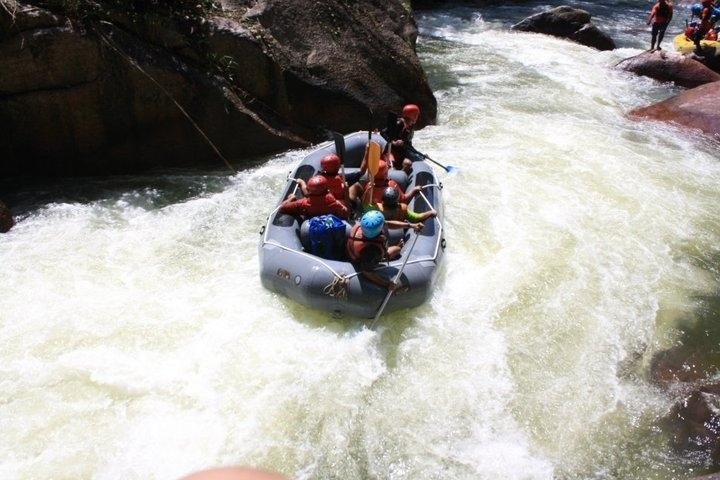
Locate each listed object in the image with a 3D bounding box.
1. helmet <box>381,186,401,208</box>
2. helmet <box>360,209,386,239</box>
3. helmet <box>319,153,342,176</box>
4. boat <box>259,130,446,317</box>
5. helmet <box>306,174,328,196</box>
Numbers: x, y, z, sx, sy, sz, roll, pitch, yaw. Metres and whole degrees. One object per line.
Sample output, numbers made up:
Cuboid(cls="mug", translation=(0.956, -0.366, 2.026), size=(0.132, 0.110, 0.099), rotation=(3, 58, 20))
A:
Cuboid(cls="helmet", translation=(0.435, -0.598, 7.644), size=(0.234, 0.293, 0.297), rotation=(0, 50, 0))
Cuboid(cls="helmet", translation=(0.166, -0.211, 7.154), size=(0.336, 0.320, 0.281), rotation=(5, 37, 1))
Cuboid(cls="helmet", translation=(-0.446, -1.154, 8.001), size=(0.298, 0.300, 0.299), rotation=(-18, 6, 17))
Cuboid(cls="boat", translation=(0.003, -0.509, 7.937), size=(2.632, 1.957, 2.821), rotation=(8, 37, 6))
Cuboid(cls="helmet", translation=(-0.604, -0.776, 7.703), size=(0.275, 0.203, 0.271), rotation=(-35, 51, -24))
